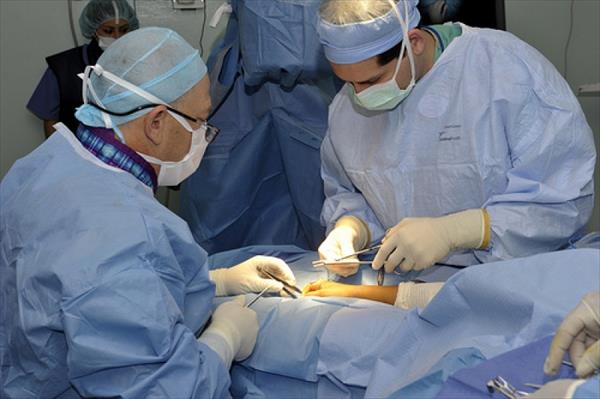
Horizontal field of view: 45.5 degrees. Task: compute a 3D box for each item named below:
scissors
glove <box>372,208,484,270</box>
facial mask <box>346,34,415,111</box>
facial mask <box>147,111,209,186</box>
[{"bbox_3d":[0.334,0.260,3.645,0.338,0.018,0.139,-22,31,19],"label":"scissors"},{"bbox_3d":[0.640,0.215,3.617,0.611,0.266,0.388,-10,17,14],"label":"glove"},{"bbox_3d":[0.409,-0.588,3.505,0.148,0.374,0.261,4,4,-34],"label":"facial mask"},{"bbox_3d":[-0.595,-0.217,3.348,0.280,0.133,0.289,28,48,4],"label":"facial mask"}]
